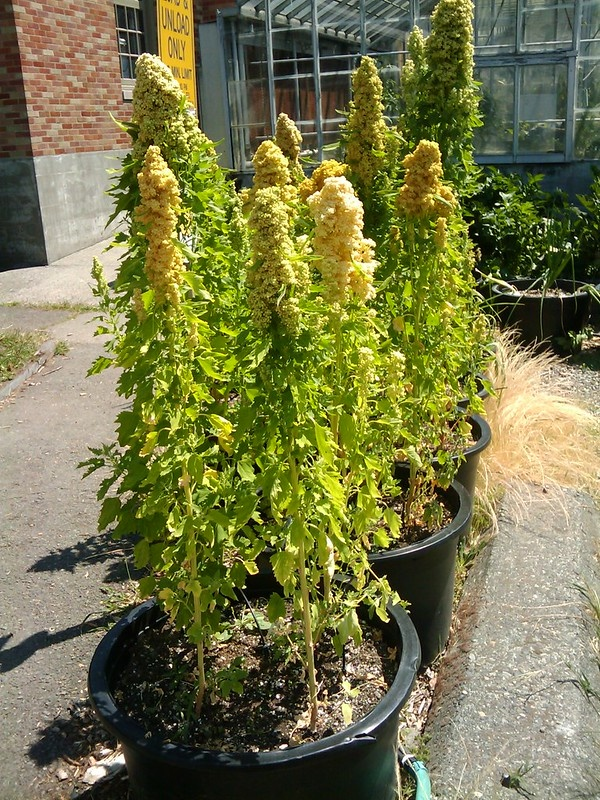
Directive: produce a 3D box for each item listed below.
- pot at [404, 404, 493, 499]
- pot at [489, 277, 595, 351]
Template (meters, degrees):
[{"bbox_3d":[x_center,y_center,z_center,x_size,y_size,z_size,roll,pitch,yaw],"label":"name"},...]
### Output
[{"bbox_3d":[0.685,0.204,2.915,0.404,0.280,0.390,-4,30,2],"label":"pot"},{"bbox_3d":[2.046,-0.724,5.689,0.916,0.559,0.934,-2,15,0],"label":"pot"}]
